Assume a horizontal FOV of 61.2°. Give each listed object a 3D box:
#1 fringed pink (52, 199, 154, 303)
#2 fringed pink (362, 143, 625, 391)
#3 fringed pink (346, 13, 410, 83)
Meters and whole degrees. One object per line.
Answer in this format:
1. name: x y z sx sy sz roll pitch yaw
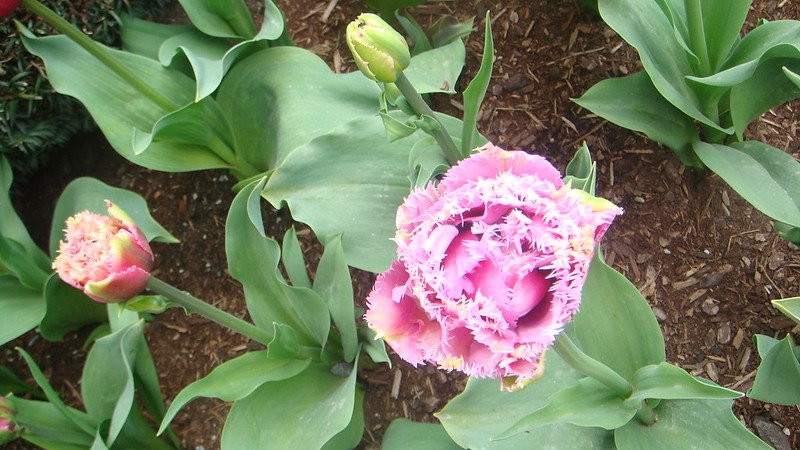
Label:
1. fringed pink: -1.030 0.093 2.340 0.266 0.300 0.460 -7 22 -21
2. fringed pink: 0.243 0.136 1.978 0.557 0.292 0.656 24 72 20
3. fringed pink: -0.068 -0.550 2.133 0.161 0.191 0.175 -36 64 -6
